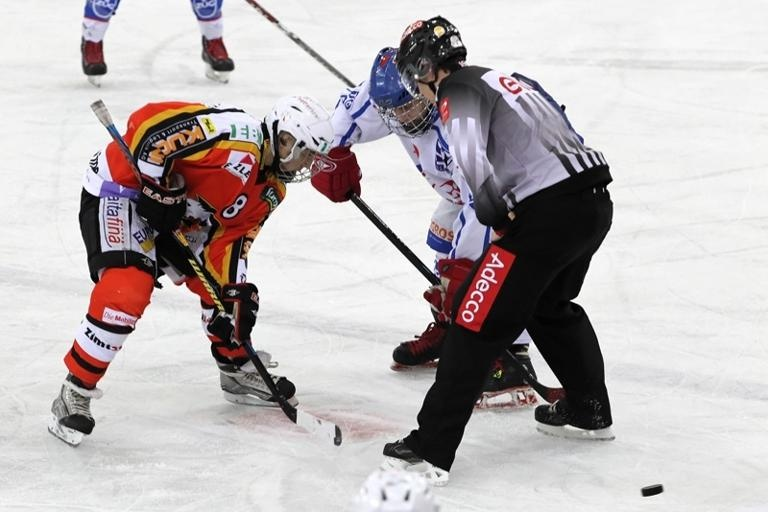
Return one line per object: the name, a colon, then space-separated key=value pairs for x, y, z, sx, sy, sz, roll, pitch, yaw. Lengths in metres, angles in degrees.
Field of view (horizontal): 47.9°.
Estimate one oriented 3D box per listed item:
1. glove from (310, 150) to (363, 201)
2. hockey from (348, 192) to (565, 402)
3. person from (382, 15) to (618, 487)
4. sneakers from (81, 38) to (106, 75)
glove: x=-0.224 y=-0.464 z=5.210 sx=0.275 sy=0.250 sz=0.340 roll=7 pitch=-18 yaw=13
hockey: x=0.392 y=0.268 z=4.666 sx=0.165 sy=0.232 sz=1.844 roll=-23 pitch=55 yaw=-42
person: x=0.562 y=0.090 z=4.126 sx=1.088 sy=1.877 sz=0.683 roll=-7 pitch=26 yaw=-23
sneakers: x=-2.592 y=-1.784 z=7.767 sx=0.186 sy=0.343 sz=0.296 roll=-5 pitch=24 yaw=-20
